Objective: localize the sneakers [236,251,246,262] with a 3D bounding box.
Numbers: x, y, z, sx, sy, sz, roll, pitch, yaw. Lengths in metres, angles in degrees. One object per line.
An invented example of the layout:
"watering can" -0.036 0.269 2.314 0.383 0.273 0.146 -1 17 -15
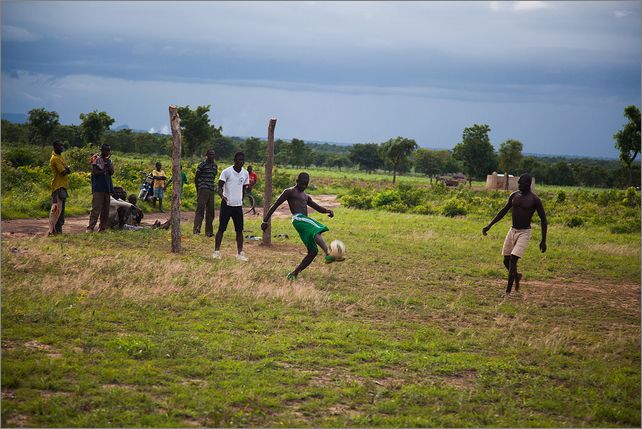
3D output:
"sneakers" -2.099 1.074 17.197 0.270 0.213 0.452 -4 14 -30

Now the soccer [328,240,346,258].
"soccer" 0.343 0.825 15.165 0.310 0.392 0.376 0 34 -6

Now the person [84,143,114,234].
"person" -6.284 -0.740 18.198 0.729 2.565 0.913 -2 13 -20

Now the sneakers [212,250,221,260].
"sneakers" -2.783 1.045 17.257 0.162 0.237 0.233 4 -6 -44
